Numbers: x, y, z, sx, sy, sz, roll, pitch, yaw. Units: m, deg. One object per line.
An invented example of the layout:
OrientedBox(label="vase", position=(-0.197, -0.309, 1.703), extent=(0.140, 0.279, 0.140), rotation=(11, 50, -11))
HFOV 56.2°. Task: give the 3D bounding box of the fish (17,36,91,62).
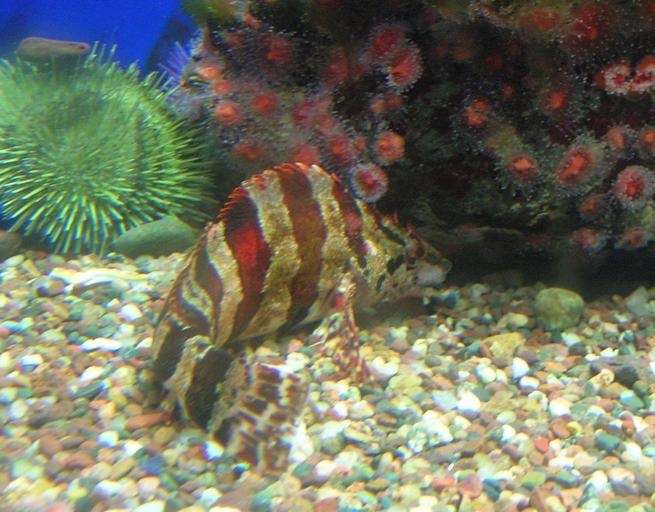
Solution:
OrientedBox(label="fish", position=(-1.371, -1.033, 3.090), extent=(0.296, 0.094, 0.129), rotation=(-5, 35, 0))
